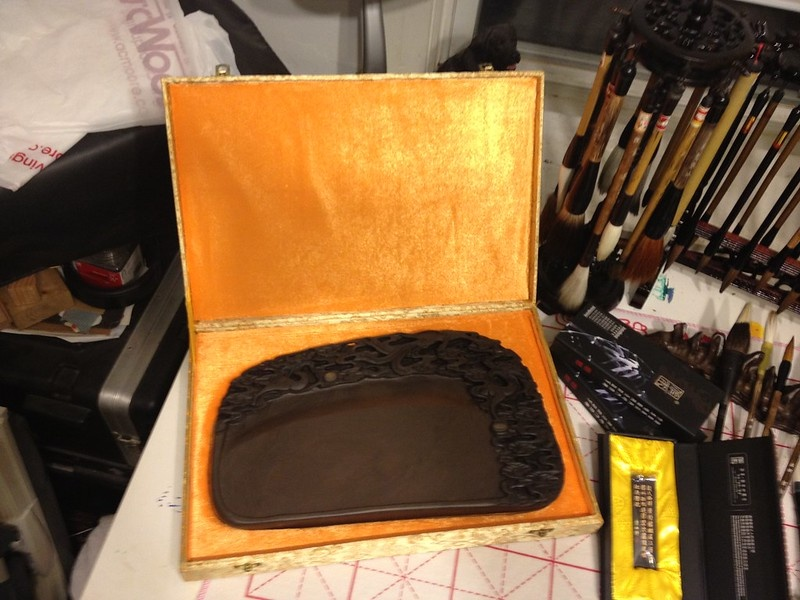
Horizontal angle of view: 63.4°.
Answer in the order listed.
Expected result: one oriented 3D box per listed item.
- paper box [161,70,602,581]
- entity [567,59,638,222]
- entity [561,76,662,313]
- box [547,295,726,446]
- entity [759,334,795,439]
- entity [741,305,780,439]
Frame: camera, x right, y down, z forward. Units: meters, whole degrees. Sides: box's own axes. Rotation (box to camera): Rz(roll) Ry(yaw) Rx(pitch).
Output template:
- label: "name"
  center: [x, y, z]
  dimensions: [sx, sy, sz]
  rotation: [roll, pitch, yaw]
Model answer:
- label: "paper box"
  center: [0.000, 0.104, 1.196]
  dimensions: [0.949, 0.503, 0.684]
  rotation: [-5, 64, -4]
- label: "entity"
  center: [0.315, -0.245, 1.020]
  dimensions: [0.059, 0.256, 0.060]
  rotation: [-6, 43, -30]
- label: "entity"
  center: [0.330, -0.142, 1.062]
  dimensions: [0.083, 0.357, 0.078]
  rotation: [23, 28, -5]
- label: "box"
  center: [0.381, 0.134, 1.127]
  dimensions: [0.274, 0.079, 0.156]
  rotation: [30, 72, 13]
- label: "entity"
  center: [0.637, 0.154, 1.095]
  dimensions: [0.024, 0.021, 0.230]
  rotation: [27, 56, 9]
- label: "entity"
  center: [0.613, 0.133, 1.103]
  dimensions: [0.035, 0.030, 0.279]
  rotation: [19, 59, 26]
